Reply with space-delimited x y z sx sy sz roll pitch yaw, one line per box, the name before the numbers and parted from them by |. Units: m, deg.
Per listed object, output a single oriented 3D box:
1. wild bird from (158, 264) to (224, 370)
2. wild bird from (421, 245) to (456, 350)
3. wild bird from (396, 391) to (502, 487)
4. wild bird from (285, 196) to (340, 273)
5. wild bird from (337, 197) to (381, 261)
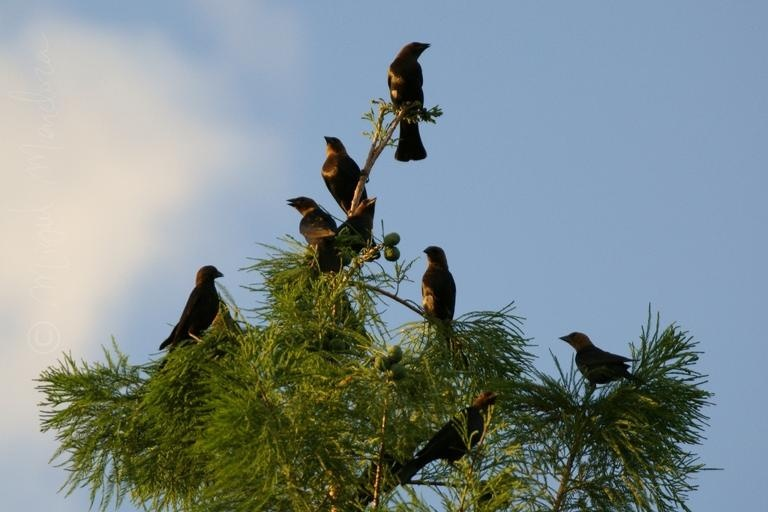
wild bird | -1.352 0.374 10.511 0.418 0.608 0.270 -13 -32 14
wild bird | 0.370 0.353 10.039 0.180 0.637 0.377 -5 23 12
wild bird | 0.406 1.174 9.556 0.819 0.517 0.252 -11 10 -29
wild bird | -0.452 -0.195 10.272 0.241 0.496 0.747 2 -8 -22
wild bird | -0.192 -0.179 10.169 0.258 0.395 0.555 -3 12 1
